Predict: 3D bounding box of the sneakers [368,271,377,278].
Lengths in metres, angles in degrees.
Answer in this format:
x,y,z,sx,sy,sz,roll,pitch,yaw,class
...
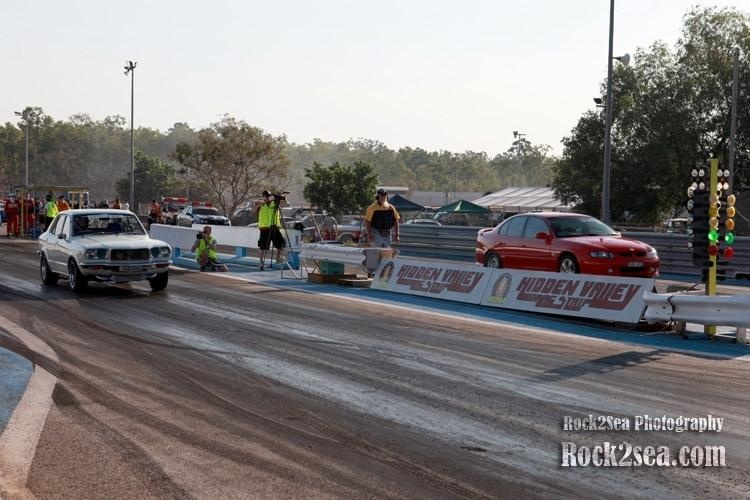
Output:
x,y,z,sx,sy,sz,roll,pitch,yaw,class
-0.104,0.768,18.290,0.244,0.189,0.170,5,2,8,sneakers

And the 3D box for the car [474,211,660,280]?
x,y,z,sx,sy,sz,roll,pitch,yaw,class
4.935,-0.094,16.300,2.193,1.577,4.770,2,-3,-36,car

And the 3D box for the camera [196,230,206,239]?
x,y,z,sx,sy,sz,roll,pitch,yaw,class
-6.280,-0.560,20.977,0.212,0.107,0.293,6,-35,-12,camera

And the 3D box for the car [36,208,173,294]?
x,y,z,sx,sy,sz,roll,pitch,yaw,class
-7.386,-0.013,15.723,3.766,2.101,1.843,5,7,35,car

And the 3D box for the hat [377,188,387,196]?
x,y,z,sx,sy,sz,roll,pitch,yaw,class
0.219,-1.723,17.106,0.187,0.145,0.270,0,-10,-14,hat
